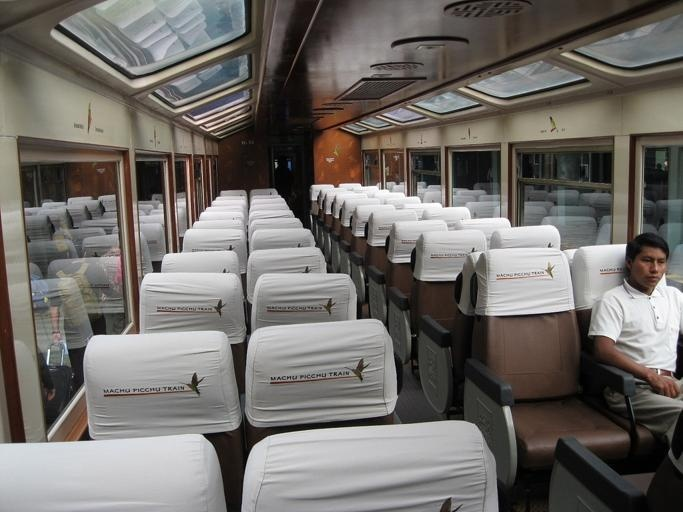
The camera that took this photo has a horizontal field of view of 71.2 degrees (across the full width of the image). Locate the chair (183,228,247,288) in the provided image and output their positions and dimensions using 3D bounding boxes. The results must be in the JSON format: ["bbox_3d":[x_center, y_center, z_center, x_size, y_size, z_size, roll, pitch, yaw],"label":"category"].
[{"bbox_3d":[-1.562,0.103,5.990,0.727,0.763,0.630,0,-2,-5],"label":"chair"}]

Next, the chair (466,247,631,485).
[{"bbox_3d":[1.471,0.660,3.525,0.834,1.470,1.399,-3,2,11],"label":"chair"}]

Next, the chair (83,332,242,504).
[{"bbox_3d":[-0.842,0.772,2.914,0.771,1.214,0.875,-1,14,-1],"label":"chair"}]

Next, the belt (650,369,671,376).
[{"bbox_3d":[2.465,0.898,3.683,0.079,0.026,0.087,1,0,-22],"label":"belt"}]

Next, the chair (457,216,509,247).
[{"bbox_3d":[1.872,-0.423,6.151,0.499,0.403,0.394,-1,11,-14],"label":"chair"}]

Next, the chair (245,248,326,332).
[{"bbox_3d":[-0.563,0.407,4.821,0.821,0.854,0.731,-2,17,-8],"label":"chair"}]
